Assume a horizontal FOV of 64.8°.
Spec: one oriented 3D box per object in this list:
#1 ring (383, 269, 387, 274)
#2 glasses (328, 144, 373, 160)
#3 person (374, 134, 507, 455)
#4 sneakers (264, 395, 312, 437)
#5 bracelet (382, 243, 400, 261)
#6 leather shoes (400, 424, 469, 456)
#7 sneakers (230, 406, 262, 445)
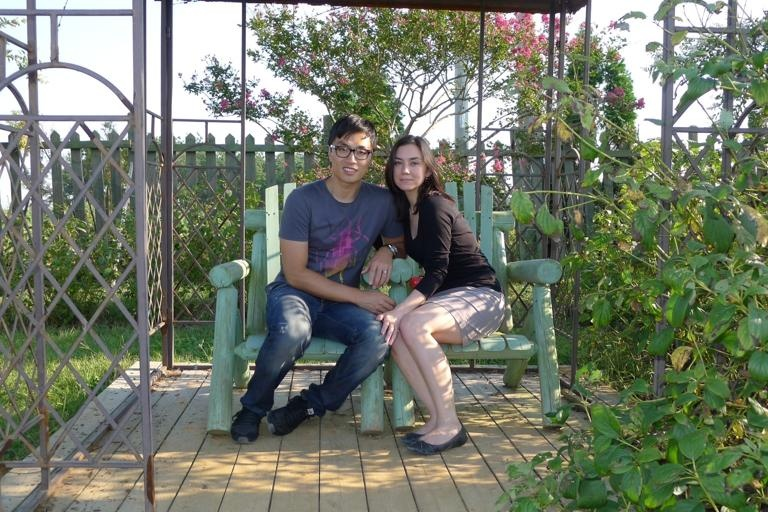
[{"bbox_3d":[0.003,0.090,3.421,0.019,0.021,0.005,3,-9,-12],"label":"ring"},{"bbox_3d":[-0.184,-0.571,3.336,0.229,0.088,0.084,0,9,-5],"label":"glasses"},{"bbox_3d":[0.323,0.171,3.288,0.674,1.629,0.752,1,9,4],"label":"person"},{"bbox_3d":[-0.494,0.848,3.314,0.284,0.144,0.124,-32,-1,-43],"label":"sneakers"},{"bbox_3d":[0.042,-0.017,3.595,0.097,0.066,0.091,21,-42,-31],"label":"bracelet"},{"bbox_3d":[0.268,0.945,3.098,0.220,0.096,0.142,3,-8,-13],"label":"leather shoes"},{"bbox_3d":[-0.732,0.893,3.214,0.166,0.162,0.166,-3,10,-23],"label":"sneakers"}]
